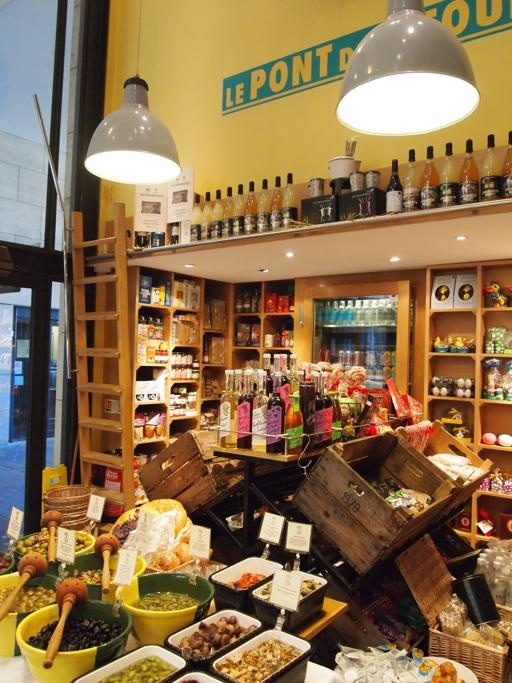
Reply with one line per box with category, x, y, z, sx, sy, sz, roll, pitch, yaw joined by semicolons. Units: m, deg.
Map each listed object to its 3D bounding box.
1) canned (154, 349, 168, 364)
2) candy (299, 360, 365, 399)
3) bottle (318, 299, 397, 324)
canned;-0.817;0.134;4.525;0.107;0.123;0.108;3;-1;8
candy;0.383;0.163;2.506;0.277;0.189;0.192;0;0;10
bottle;0.827;-0.230;4.152;0.551;0.202;0.159;2;1;33
